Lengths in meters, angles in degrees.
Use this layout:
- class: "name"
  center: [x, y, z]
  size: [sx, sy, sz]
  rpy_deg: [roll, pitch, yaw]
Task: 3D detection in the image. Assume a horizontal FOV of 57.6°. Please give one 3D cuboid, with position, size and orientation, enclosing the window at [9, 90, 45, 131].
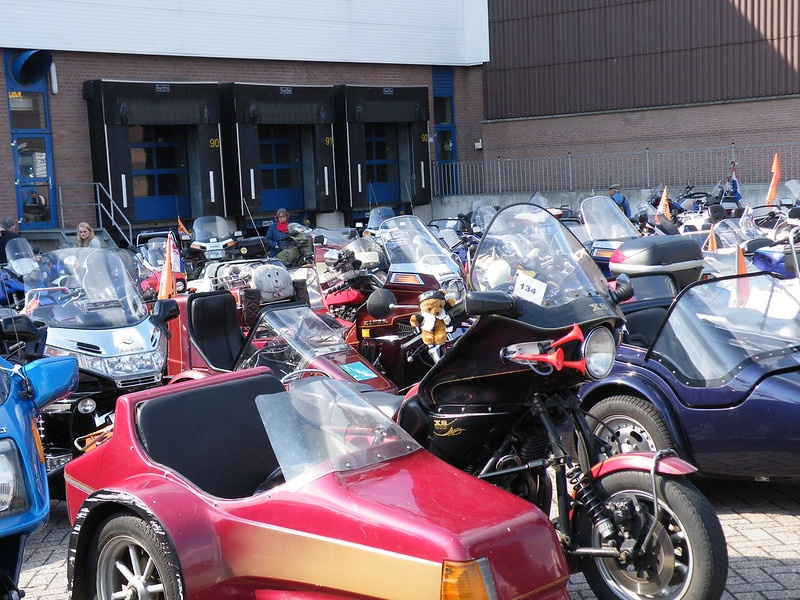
- class: "window"
  center: [-9.929, -5.074, 19.387]
  size: [0.084, 0.930, 0.829]
  rpy_deg: [3, 27, 44]

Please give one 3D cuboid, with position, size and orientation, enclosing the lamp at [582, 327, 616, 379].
- class: "lamp"
  center: [1.040, 0.273, 3.861]
  size: [0.214, 0.263, 0.085]
  rpy_deg: [31, -23, -37]

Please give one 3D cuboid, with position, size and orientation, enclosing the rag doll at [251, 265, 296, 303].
- class: "rag doll"
  center: [-1.239, -0.196, 7.149]
  size: [0.356, 0.313, 0.352]
  rpy_deg: [-5, 8, -37]

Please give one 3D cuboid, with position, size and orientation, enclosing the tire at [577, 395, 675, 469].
- class: "tire"
  center: [1.432, 0.829, 4.545]
  size: [0.187, 0.608, 0.537]
  rpy_deg: [-3, 0, -43]
